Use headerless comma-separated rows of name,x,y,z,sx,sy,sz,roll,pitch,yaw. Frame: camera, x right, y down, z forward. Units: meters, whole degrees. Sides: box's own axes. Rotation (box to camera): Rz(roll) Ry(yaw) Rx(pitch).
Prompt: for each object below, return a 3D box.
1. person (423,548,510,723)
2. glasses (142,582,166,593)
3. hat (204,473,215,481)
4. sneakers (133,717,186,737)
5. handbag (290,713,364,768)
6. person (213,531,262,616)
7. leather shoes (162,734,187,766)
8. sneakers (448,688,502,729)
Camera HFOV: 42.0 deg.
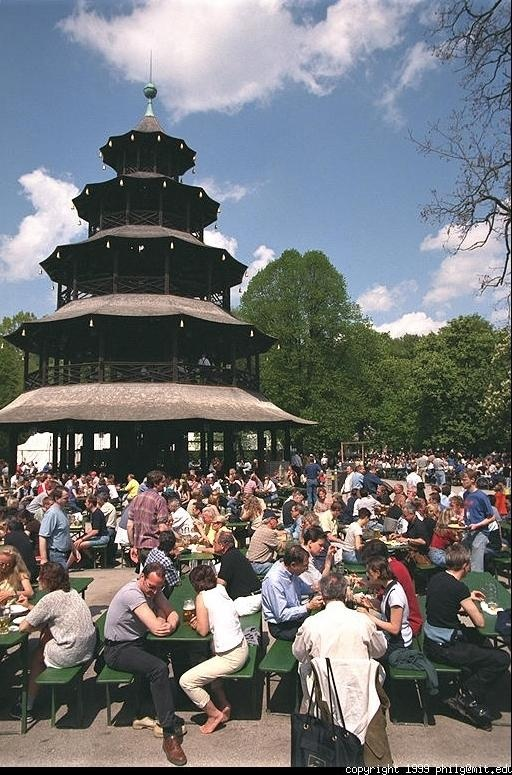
person,1.912,2.190,6.063,0.414,1.494,0.874,-4,2,-33
glasses,-0.957,1.828,6.144,0.142,0.087,0.185,15,-2,-25
hat,-1.331,2.598,19.289,0.311,0.079,0.309,1,-1,-6
sneakers,-0.869,2.990,5.895,0.501,0.111,0.282,-3,1,2
handbag,0.503,2.478,4.679,0.361,0.337,0.162,-9,-38,21
person,-0.249,1.992,7.430,0.561,0.894,0.508,-16,15,-12
leather shoes,-0.662,2.941,5.431,0.181,0.153,0.186,-3,2,-6
sneakers,1.898,2.821,5.880,0.102,0.264,0.538,-4,2,-32
